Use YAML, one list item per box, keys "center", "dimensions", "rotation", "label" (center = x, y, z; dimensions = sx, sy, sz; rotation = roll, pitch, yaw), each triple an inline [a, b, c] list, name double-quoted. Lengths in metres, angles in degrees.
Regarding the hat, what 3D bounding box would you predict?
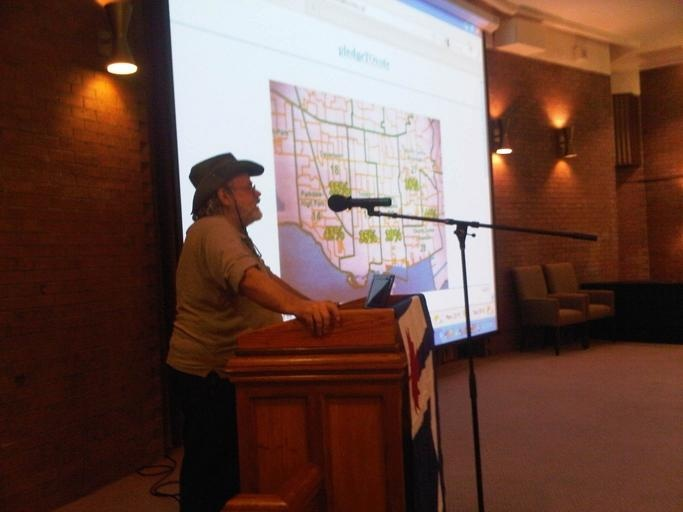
- center: [-0.573, -0.417, 2.654]
  dimensions: [0.377, 0.174, 0.320]
  rotation: [-25, 7, -9]
  label: "hat"
